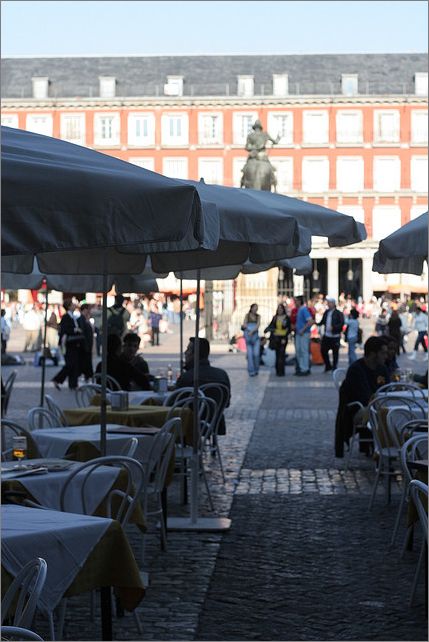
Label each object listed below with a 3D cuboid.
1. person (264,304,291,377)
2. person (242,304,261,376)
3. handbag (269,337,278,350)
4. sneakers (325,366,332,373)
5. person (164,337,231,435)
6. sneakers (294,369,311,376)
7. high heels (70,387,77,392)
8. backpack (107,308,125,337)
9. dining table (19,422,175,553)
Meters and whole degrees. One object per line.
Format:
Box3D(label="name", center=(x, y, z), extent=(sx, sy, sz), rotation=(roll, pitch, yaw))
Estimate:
Box3D(label="person", center=(1.230, 0.319, 21.209), extent=(0.461, 1.512, 0.414), rotation=(1, 17, 1))
Box3D(label="person", center=(0.702, 0.308, 20.727), extent=(0.276, 1.508, 0.424), rotation=(0, -11, -1))
Box3D(label="handbag", center=(1.144, 0.409, 21.170), extent=(0.190, 0.275, 0.193), rotation=(-1, 1, 3))
Box3D(label="sneakers", center=(2.219, 0.924, 21.156), extent=(0.094, 0.122, 0.196), rotation=(0, 6, 20))
Box3D(label="person", center=(-0.182, 0.641, 11.009), extent=(0.715, 1.420, 0.654), rotation=(-3, 8, -15))
Box3D(label="sneakers", center=(1.707, 0.986, 21.000), extent=(0.320, 0.185, 0.119), rotation=(-4, 4, 7))
Box3D(label="high heels", center=(-2.339, 1.093, 17.604), extent=(0.102, 0.134, 0.080), rotation=(2, -1, 1))
Box3D(label="backpack", center=(-1.878, -0.023, 20.187), extent=(0.354, 0.698, 0.627), rotation=(1, -7, 2))
Box3D(label="dining table", center=(-0.603, 1.018, 5.319), extent=(0.408, 0.803, 0.501), rotation=(5, -12, 27))
